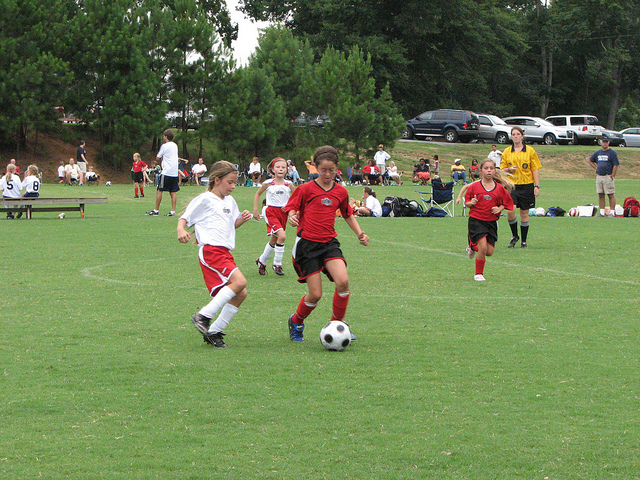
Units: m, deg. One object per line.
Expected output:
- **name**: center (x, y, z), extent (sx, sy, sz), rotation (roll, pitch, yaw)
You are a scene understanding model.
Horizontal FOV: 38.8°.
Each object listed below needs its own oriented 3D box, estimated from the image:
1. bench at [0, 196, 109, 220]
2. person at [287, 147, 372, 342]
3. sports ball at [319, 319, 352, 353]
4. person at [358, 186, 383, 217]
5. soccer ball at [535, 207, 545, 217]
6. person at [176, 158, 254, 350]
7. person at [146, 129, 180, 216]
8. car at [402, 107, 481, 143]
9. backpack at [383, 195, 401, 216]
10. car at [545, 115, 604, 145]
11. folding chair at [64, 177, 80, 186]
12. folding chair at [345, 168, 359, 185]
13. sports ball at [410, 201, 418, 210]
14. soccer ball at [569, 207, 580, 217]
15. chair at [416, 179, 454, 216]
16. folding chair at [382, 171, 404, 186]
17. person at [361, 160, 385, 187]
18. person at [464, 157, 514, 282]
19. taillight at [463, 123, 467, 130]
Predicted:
- **bench**: center (-6.439, -0.779, 22.114), extent (2.004, 0.538, 3.308), rotation (1, 2, -5)
- **person**: center (0.026, 0.050, 10.078), extent (0.802, 2.125, 0.767), rotation (1, 2, -1)
- **sports ball**: center (0.161, 1.039, 9.723), extent (0.392, 0.308, 0.328), rotation (-5, -14, 3)
- **person**: center (1.202, -0.913, 22.460), extent (0.640, 0.801, 0.722), rotation (4, 7, 8)
- **soccer ball**: center (5.641, -0.719, 23.350), extent (0.202, 0.196, 0.247), rotation (9, -5, 24)
- **person**: center (-1.154, 0.150, 9.855), extent (0.776, 2.005, 0.556), rotation (1, 2, -5)
- **person**: center (-3.581, -1.485, 20.391), extent (0.914, 1.967, 0.610), rotation (2, -4, -20)
- **car**: center (6.319, -6.029, 48.308), extent (4.343, 1.530, 2.102), rotation (8, 12, 30)
- **backpack**: center (1.891, -0.908, 23.980), extent (0.419, 0.475, 0.532), rotation (11, -5, -29)
- **car**: center (13.962, -6.125, 50.074), extent (2.811, 1.037, 1.534), rotation (7, 10, 28)
- **folding chair**: center (-10.381, -2.444, 38.009), extent (0.380, 0.450, 0.178), rotation (0, 3, -11)
- **folding chair**: center (1.193, -2.636, 36.717), extent (0.534, 0.645, 0.527), rotation (6, 8, 35)
- **sports ball**: center (2.478, -0.906, 23.937), extent (0.292, 0.198, 0.150), rotation (-1, 3, -44)
- **soccer ball**: center (6.510, -0.736, 23.177), extent (0.213, 0.221, 0.198), rotation (7, 36, -5)
- **chair**: center (3.213, -1.096, 24.554), extent (0.997, 0.897, 0.958), rotation (1, 0, 25)
- **folding chair**: center (2.787, -2.476, 36.164), extent (0.499, 0.549, 0.469), rotation (-4, 5, 14)
- **person**: center (1.955, -2.625, 35.952), extent (1.003, 1.180, 1.109), rotation (-1, 7, -17)
- **person**: center (2.423, -0.298, 13.205), extent (0.660, 1.768, 0.720), rotation (2, 2, 15)
- **taillight**: center (7.576, -5.944, 47.474), extent (0.227, 0.327, 0.033), rotation (3, 3, 38)
